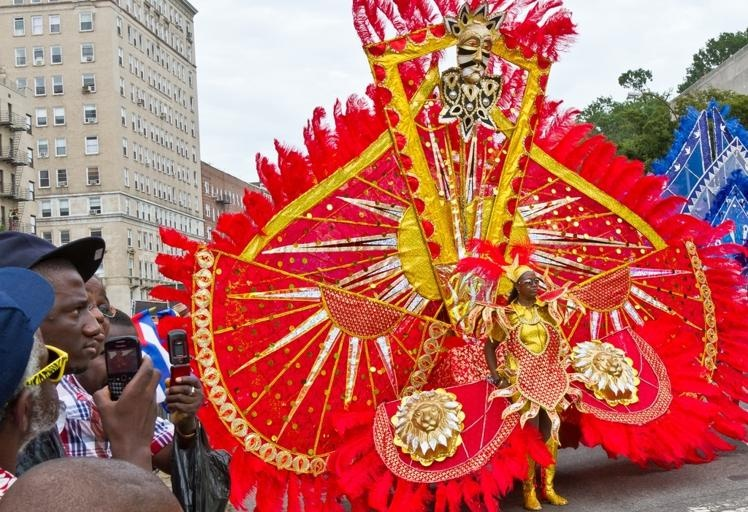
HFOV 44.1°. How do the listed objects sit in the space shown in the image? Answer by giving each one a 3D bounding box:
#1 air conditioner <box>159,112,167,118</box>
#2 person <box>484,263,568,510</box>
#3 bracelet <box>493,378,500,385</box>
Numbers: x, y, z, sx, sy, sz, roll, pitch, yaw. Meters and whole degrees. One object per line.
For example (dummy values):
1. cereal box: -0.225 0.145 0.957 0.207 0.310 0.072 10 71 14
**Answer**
1. air conditioner: -13.801 -9.187 60.334 0.547 0.387 0.578 -3 -2 -10
2. person: 1.496 1.262 8.910 0.544 2.340 0.819 0 -6 44
3. bracelet: 1.161 1.187 8.739 0.062 0.036 0.055 -1 -8 44
